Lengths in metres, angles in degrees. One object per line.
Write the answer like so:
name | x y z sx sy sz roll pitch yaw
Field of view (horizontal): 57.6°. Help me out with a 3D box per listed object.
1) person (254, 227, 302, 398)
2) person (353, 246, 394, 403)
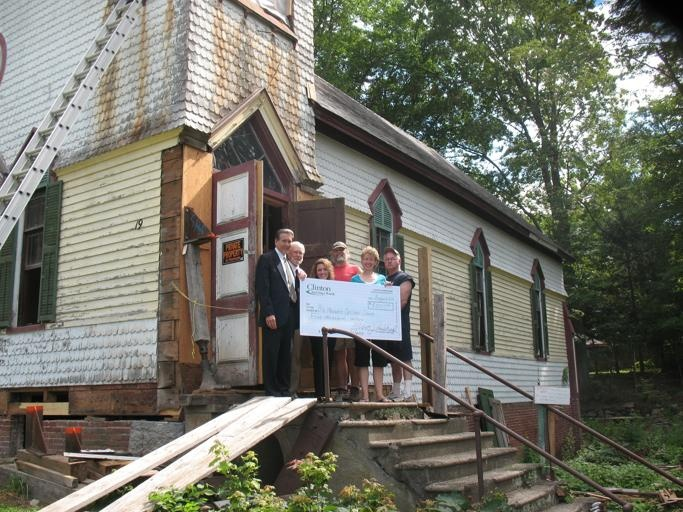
person | -0.853 0.727 8.332 0.655 2.205 0.535 6 -17 -27
person | 0.419 0.916 8.712 0.515 2.221 0.972 -3 -16 1
